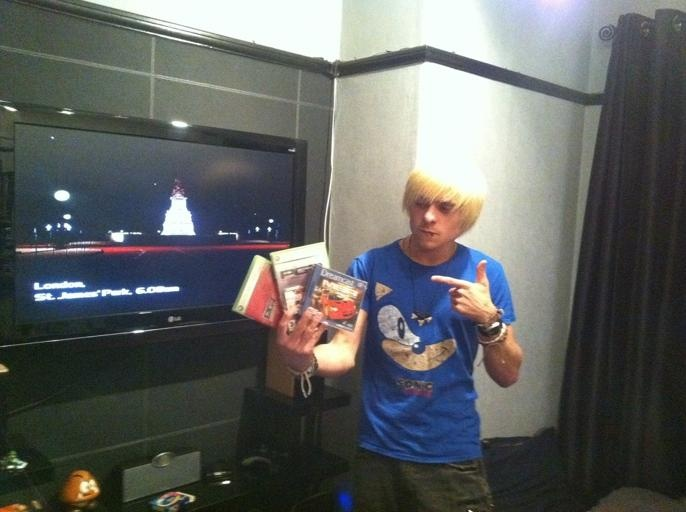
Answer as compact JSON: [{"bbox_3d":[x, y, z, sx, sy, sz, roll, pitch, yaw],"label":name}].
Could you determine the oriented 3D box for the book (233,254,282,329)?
[{"bbox_3d":[-0.239,0.098,1.476,0.129,0.202,0.036,-5,6,-12],"label":"book"}]

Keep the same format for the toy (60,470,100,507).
[{"bbox_3d":[-0.902,0.790,1.828,0.123,0.093,0.058,20,-14,3],"label":"toy"}]

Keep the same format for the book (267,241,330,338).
[{"bbox_3d":[-0.117,0.083,1.481,0.213,0.208,0.050,-13,11,-23],"label":"book"}]

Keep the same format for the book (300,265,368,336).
[{"bbox_3d":[-0.009,0.110,1.425,0.189,0.170,0.045,16,-5,-16],"label":"book"}]

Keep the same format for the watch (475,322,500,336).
[{"bbox_3d":[0.412,0.201,1.505,0.066,0.045,0.014,-2,6,13],"label":"watch"}]
